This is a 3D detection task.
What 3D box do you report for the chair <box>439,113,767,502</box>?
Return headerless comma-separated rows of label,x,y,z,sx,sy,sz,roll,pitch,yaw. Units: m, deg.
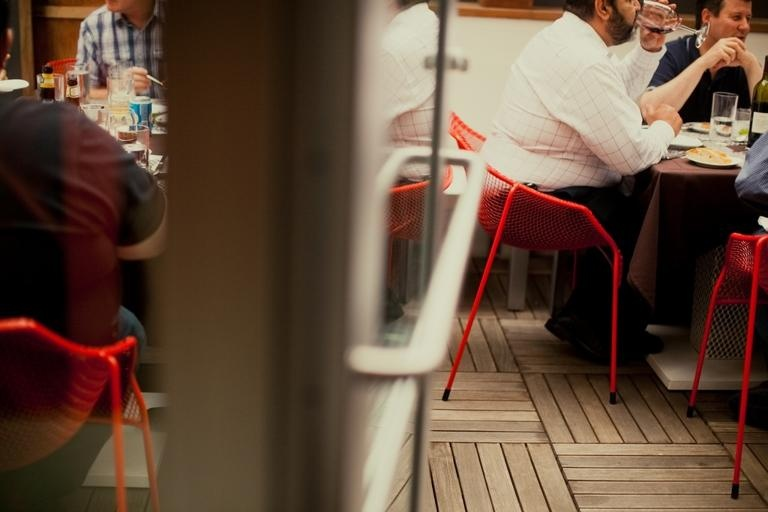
chair,0.748,0.062,2.384,1.223,1.041,0.691,11,19,27
